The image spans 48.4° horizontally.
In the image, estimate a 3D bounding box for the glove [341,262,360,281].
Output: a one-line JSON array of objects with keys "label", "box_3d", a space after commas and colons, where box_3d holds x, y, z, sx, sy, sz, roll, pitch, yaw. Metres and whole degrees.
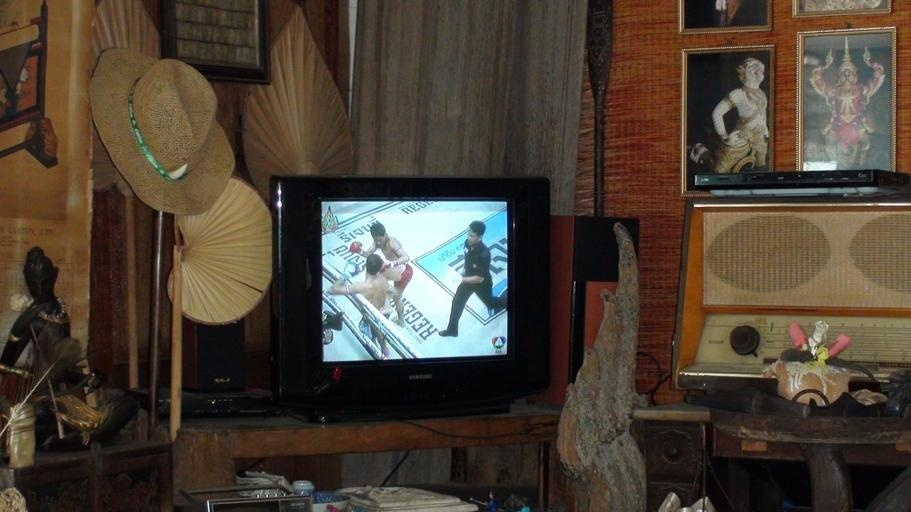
[{"label": "glove", "box_3d": [-0.473, 0.075, 4.649, 0.069, 0.084, 0.036, 23, -6, -2]}]

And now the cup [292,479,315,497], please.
[{"label": "cup", "box_3d": [-0.674, 1.043, 4.509, 0.090, 0.047, 0.087, 5, 1, 0]}]

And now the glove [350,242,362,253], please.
[{"label": "glove", "box_3d": [-0.452, -0.039, 4.656, 0.041, 0.051, 0.016, 0, 0, -5]}]

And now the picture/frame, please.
[{"label": "picture/frame", "box_3d": [1.689, -0.777, 4.967, 1.125, 0.737, 0.040, -1, 0, 16]}]

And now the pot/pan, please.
[{"label": "pot/pan", "box_3d": [1.534, 0.490, 4.124, 0.424, 0.203, 0.223, -2, 2, -11]}]

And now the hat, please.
[{"label": "hat", "box_3d": [-1.268, -0.527, 4.379, 0.274, 0.687, 0.717, -10, 9, 37]}]

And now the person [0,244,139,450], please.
[{"label": "person", "box_3d": [-1.688, 0.381, 4.308, 0.541, 0.839, 0.384, -3, 2, -34]}]
